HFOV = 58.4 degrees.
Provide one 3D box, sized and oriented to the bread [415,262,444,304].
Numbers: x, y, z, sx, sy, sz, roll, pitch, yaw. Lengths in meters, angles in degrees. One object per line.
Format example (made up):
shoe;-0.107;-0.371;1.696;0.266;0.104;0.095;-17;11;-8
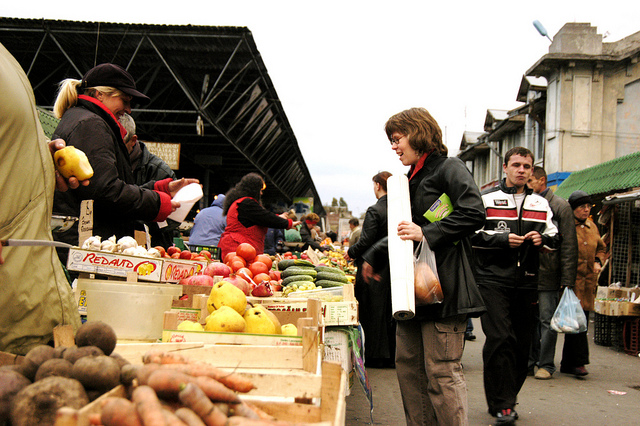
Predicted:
bread;0.913;0.587;4.783;0.222;0.339;0.087;-1;-8;11

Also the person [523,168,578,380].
person;3.224;0.927;8.045;1.018;3.072;0.943;1;-1;5

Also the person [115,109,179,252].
person;-2.181;-0.518;7.220;0.750;2.083;0.879;-3;-5;-16

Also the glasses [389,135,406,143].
glasses;0.715;-0.659;5.209;0.131;0.040;0.127;1;-1;-37

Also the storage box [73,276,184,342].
storage box;-1.463;0.733;4.542;0.750;0.446;0.687;1;-5;5
